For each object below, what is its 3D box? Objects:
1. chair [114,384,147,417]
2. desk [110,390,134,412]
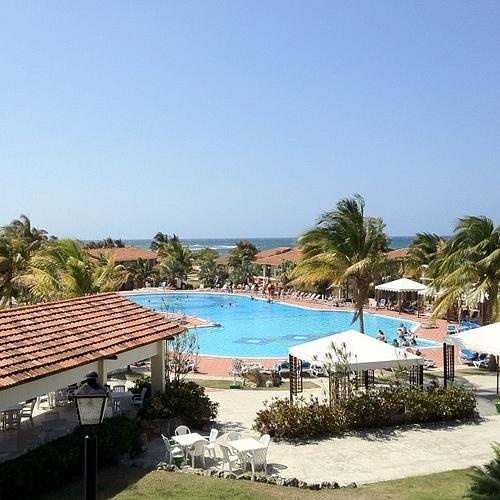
[{"bbox_3d":[-3.626,4.496,13.733,0.810,1.113,0.818,1,11,-21],"label":"chair"},{"bbox_3d":[-3.762,4.531,13.641,0.696,0.422,1.064,4,-5,-16],"label":"desk"}]
